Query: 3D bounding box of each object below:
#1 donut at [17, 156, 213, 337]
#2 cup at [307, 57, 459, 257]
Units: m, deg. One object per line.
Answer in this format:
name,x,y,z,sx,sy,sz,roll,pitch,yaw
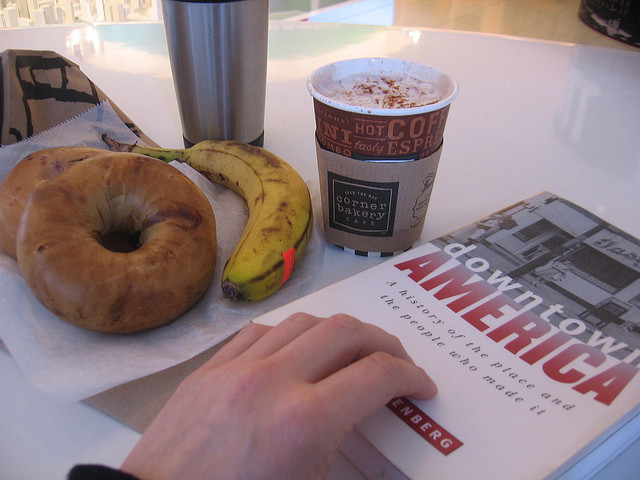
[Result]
donut,-0.249,-0.010,0.680,0.263,0.082,0.223,11,70,1
cup,0.084,-0.110,0.785,0.224,0.225,0.196,3,35,-1
